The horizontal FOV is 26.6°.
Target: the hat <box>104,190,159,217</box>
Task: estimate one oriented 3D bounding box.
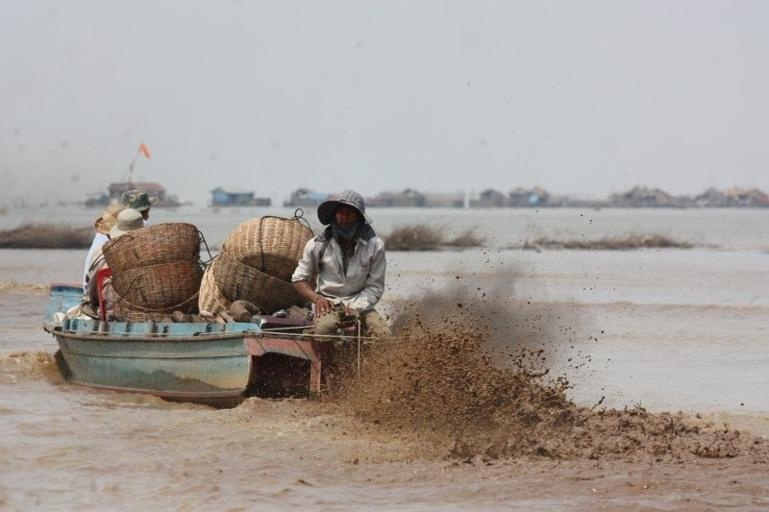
[{"bbox_3d":[-5.639,-1.195,37.283,1.027,0.353,1.027,-1,11,0],"label":"hat"}]

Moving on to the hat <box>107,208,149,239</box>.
[{"bbox_3d":[-5.778,-0.718,36.514,0.610,0.370,0.770,9,30,18],"label":"hat"}]

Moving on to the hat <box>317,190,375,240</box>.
[{"bbox_3d":[-0.819,-0.892,35.126,1.267,0.973,0.382,8,9,-2],"label":"hat"}]

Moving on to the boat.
[{"bbox_3d":[-4.128,2.108,36.303,7.154,1.965,2.444,2,-16,23],"label":"boat"}]

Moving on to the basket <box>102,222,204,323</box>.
[{"bbox_3d":[-5.040,0.382,36.697,2.035,2.129,1.914,1,1,4],"label":"basket"}]
